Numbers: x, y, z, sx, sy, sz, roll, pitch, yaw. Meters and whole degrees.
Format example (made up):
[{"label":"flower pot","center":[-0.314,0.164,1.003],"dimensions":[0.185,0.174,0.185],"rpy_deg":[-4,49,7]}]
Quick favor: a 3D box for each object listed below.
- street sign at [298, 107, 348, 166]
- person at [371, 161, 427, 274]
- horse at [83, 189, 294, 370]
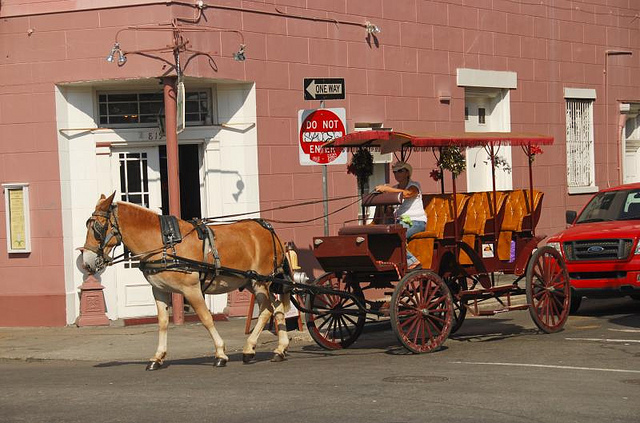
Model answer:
[{"label":"street sign","center":[0.095,-1.553,26.156],"dimensions":[1.527,1.426,0.021],"rpy_deg":[-2,0,-9]},{"label":"person","center":[1.729,0.061,25.114],"dimensions":[0.780,2.151,1.161],"rpy_deg":[-3,0,10]},{"label":"horse","center":[-2.363,1.380,24.555],"dimensions":[5.007,3.110,1.370],"rpy_deg":[5,-12,-39]}]
